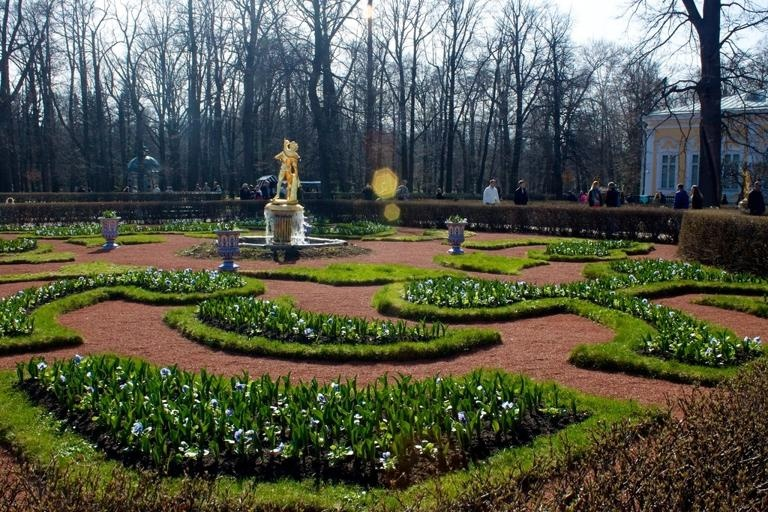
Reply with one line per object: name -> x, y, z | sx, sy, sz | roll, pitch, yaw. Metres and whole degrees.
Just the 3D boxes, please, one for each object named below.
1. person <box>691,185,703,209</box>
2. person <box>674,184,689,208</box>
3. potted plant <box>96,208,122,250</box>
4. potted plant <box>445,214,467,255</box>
person -> 11.960, -2.285, 35.125 | 0.437, 0.834, 1.180 | 2, 8, 18
person -> 11.762, -2.362, 36.310 | 0.554, 0.999, 1.854 | 2, 8, 18
potted plant -> -9.786, -0.954, 32.657 | 0.742, 1.371, 0.750 | -5, 4, 7
potted plant -> 2.446, -0.732, 31.583 | 0.621, 1.232, 2.164 | 0, 8, 4
